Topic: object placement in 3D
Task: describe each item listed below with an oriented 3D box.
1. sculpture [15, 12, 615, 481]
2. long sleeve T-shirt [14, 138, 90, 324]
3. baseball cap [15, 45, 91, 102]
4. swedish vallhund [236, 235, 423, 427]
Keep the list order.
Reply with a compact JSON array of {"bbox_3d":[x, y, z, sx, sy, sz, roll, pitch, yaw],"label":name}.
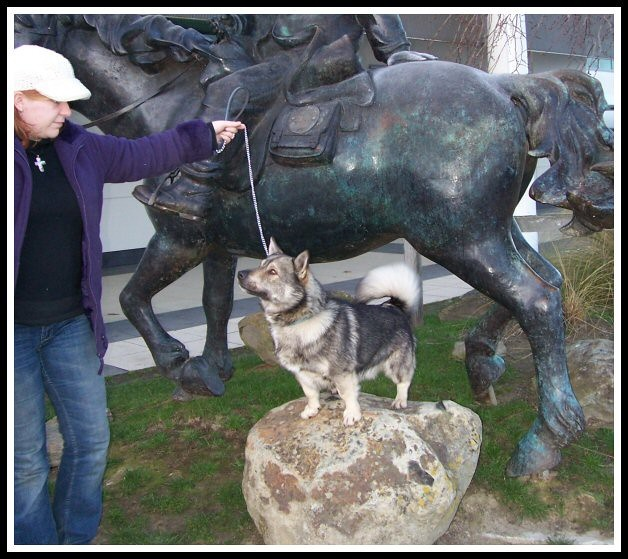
[{"bbox_3d":[-0.982,-0.882,6.128,6.762,5.414,1.757,-4,7,18],"label":"sculpture"},{"bbox_3d":[-1.265,-0.202,2.527,0.357,0.818,0.122,-13,15,-30],"label":"long sleeve T-shirt"},{"bbox_3d":[-1.182,-0.907,2.434,0.312,0.184,0.244,1,15,-6],"label":"baseball cap"},{"bbox_3d":[0.166,0.306,3.165,1.226,1.031,0.420,-2,3,-34],"label":"swedish vallhund"}]
